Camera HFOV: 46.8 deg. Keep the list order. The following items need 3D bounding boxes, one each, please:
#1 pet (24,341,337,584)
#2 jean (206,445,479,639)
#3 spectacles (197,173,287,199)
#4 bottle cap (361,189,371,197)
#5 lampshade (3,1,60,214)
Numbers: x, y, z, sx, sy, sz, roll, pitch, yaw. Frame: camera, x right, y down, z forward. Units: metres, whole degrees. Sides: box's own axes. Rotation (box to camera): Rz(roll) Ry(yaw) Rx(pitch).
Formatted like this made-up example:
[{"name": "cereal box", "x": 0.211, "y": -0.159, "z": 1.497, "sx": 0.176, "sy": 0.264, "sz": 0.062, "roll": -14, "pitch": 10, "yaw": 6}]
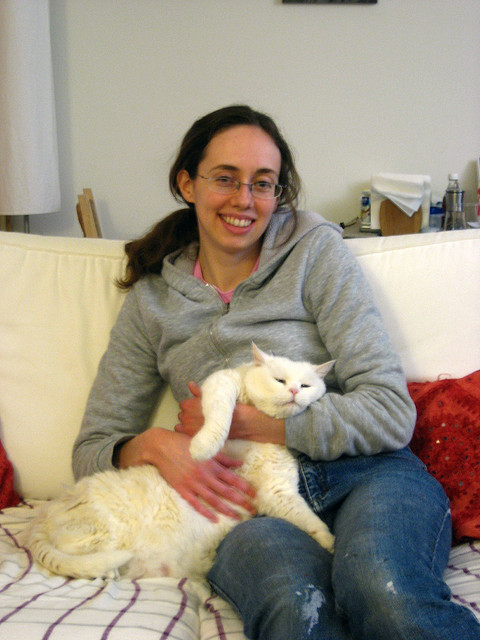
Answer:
[{"name": "pet", "x": -0.105, "y": 0.314, "z": 1.094, "sx": 0.560, "sy": 0.308, "sz": 0.409, "roll": -7, "pitch": 18, "yaw": 2}, {"name": "jean", "x": 0.171, "y": 0.296, "z": 0.886, "sx": 0.224, "sy": 0.111, "sz": 0.361, "roll": -10, "pitch": 8, "yaw": 11}, {"name": "spectacles", "x": 0.003, "y": -0.317, "z": 1.316, "sx": 0.210, "sy": 0.059, "sz": 0.108, "roll": 0, "pitch": 10, "yaw": -2}, {"name": "bottle cap", "x": 0.692, "y": -0.684, "z": 3.007, "sx": 0.078, "sy": 0.036, "sz": 0.076, "roll": 1, "pitch": 4, "yaw": 10}, {"name": "lampshade", "x": -1.001, "y": -1.009, "z": 2.636, "sx": 0.113, "sy": 0.999, "sz": 0.320, "roll": 5, "pitch": 12, "yaw": 22}]
